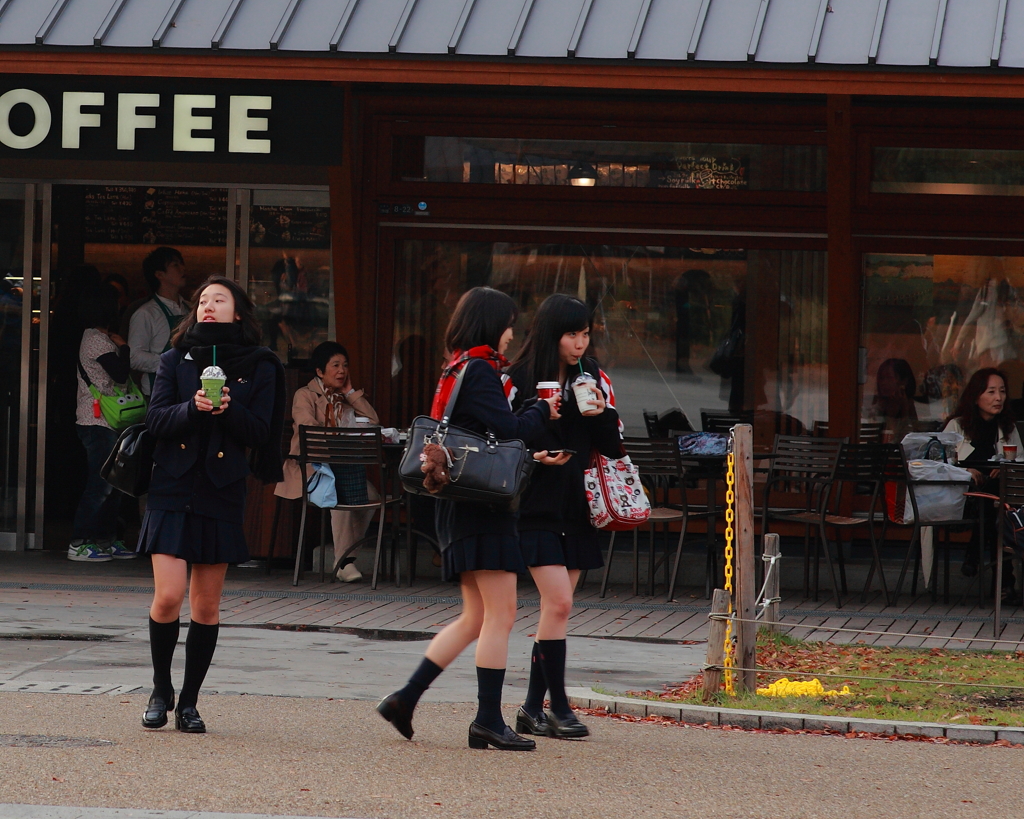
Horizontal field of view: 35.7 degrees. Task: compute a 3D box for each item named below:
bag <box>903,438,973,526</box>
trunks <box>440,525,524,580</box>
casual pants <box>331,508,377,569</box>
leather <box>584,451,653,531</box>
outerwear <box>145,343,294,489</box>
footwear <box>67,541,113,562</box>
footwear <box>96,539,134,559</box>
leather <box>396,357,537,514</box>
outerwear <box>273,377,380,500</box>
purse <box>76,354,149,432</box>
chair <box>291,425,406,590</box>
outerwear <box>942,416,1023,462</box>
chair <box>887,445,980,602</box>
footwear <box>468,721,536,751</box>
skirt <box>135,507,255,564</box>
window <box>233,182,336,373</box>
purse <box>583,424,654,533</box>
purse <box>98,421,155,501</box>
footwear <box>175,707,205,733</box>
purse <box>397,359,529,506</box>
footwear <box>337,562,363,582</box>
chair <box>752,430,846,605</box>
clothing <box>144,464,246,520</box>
[{"bbox_3d":[3.283,0.484,11.983,0.550,0.771,0.553,-3,3,31],"label":"bag"},{"bbox_3d":[-0.142,0.666,7.389,0.366,0.242,0.177,1,-1,2],"label":"trunks"},{"bbox_3d":[-1.278,1.021,12.748,0.464,0.479,0.418,0,0,-35],"label":"casual pants"},{"bbox_3d":[0.492,0.347,7.802,0.348,0.479,0.193,2,-19,-40],"label":"leather"},{"bbox_3d":[-1.421,0.121,7.836,0.810,0.932,0.619,2,-15,-11],"label":"outerwear"},{"bbox_3d":[-3.582,1.215,13.545,0.386,0.175,0.151,1,0,-2],"label":"footwear"},{"bbox_3d":[-3.380,1.214,13.713,0.341,0.145,0.130,2,2,3],"label":"footwear"},{"bbox_3d":[-0.206,0.105,7.458,0.607,0.775,0.311,12,-27,0],"label":"leather"},{"bbox_3d":[-1.486,0.205,13.044,0.718,0.894,0.618,0,3,-32],"label":"outerwear"},{"bbox_3d":[-3.388,-0.197,13.509,0.306,0.723,0.504,-14,1,20],"label":"purse"},{"bbox_3d":[-1.300,0.737,12.610,0.923,1.253,0.979,1,-1,30],"label":"chair"},{"bbox_3d":[3.707,0.236,12.522,0.493,0.350,0.312,-1,3,4],"label":"outerwear"},{"bbox_3d":[3.332,0.802,11.959,0.913,1.079,0.876,4,-6,5],"label":"chair"},{"bbox_3d":[-0.061,1.538,7.489,0.333,0.135,0.122,0,-4,5],"label":"footwear"},{"bbox_3d":[-1.498,0.602,7.543,0.454,0.273,0.280,5,-13,-11],"label":"skirt"},{"bbox_3d":[-1.978,-1.144,14.152,0.883,1.646,0.118,5,23,4],"label":"window"},{"bbox_3d":[0.495,0.351,7.805,0.348,0.476,0.193,2,-18,-42],"label":"purse"},{"bbox_3d":[-1.828,0.207,7.833,0.201,0.361,0.380,18,7,4],"label":"purse"},{"bbox_3d":[-1.523,1.485,7.565,0.072,0.078,0.185,3,-7,-29],"label":"footwear"},{"bbox_3d":[-0.199,0.052,7.245,0.617,0.240,0.729,9,-45,-5],"label":"purse"},{"bbox_3d":[-1.303,1.307,12.743,0.111,0.085,0.214,-2,-1,-26],"label":"footwear"},{"bbox_3d":[2.285,0.832,12.538,0.616,1.244,1.647,1,-1,10],"label":"chair"},{"bbox_3d":[-1.510,0.423,7.679,0.418,0.295,0.233,5,-8,-4],"label":"clothing"}]
